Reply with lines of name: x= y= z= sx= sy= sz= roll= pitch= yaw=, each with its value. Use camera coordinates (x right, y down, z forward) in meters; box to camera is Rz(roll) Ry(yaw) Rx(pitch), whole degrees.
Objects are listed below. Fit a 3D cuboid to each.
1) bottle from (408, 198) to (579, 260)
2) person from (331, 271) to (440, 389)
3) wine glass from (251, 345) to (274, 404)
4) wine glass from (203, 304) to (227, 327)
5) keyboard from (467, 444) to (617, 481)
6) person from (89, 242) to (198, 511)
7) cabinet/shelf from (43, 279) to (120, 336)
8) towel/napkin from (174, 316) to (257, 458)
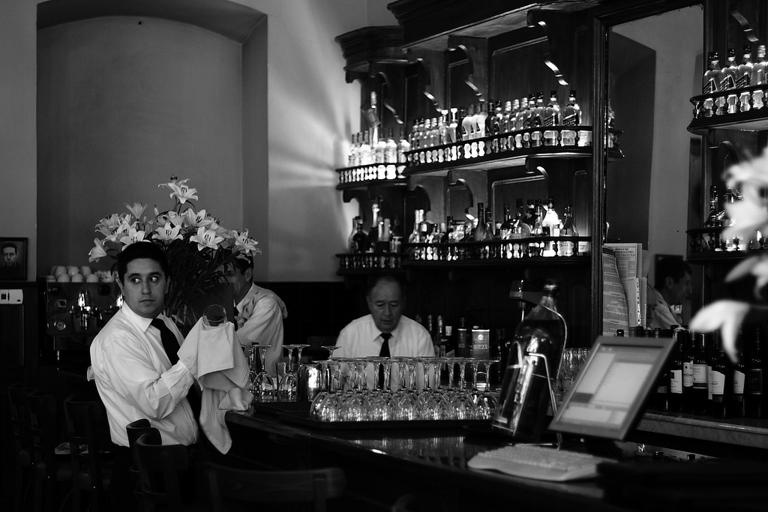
bottle: x=0.832 y=-0.150 z=5.702 sx=0.299 sy=0.369 sz=1.499 roll=1 pitch=-2 yaw=-38
person: x=-0.009 y=0.573 z=5.652 sx=0.836 sy=0.843 sz=0.460 roll=0 pitch=1 yaw=-7
wine glass: x=-0.641 y=0.609 z=4.089 sx=0.127 sy=0.270 sz=0.471 roll=0 pitch=-1 yaw=-9
wine glass: x=-0.877 y=0.307 z=4.033 sx=0.108 sy=0.116 sz=0.106 roll=-12 pitch=27 yaw=-29
keyboard: x=0.552 y=0.713 z=2.691 sx=0.448 sy=0.056 sz=0.349 roll=-1 pitch=-2 yaw=35
person: x=-1.299 y=0.651 z=4.265 sx=0.636 sy=1.474 sz=0.471 roll=0 pitch=-1 yaw=8
cabinet/shelf: x=-2.659 y=0.447 z=6.754 sx=0.756 sy=0.563 sz=0.438 roll=2 pitch=-1 yaw=-17
towel/napkin: x=-0.879 y=0.666 z=3.989 sx=0.378 sy=0.701 sz=0.227 roll=0 pitch=-1 yaw=-11
